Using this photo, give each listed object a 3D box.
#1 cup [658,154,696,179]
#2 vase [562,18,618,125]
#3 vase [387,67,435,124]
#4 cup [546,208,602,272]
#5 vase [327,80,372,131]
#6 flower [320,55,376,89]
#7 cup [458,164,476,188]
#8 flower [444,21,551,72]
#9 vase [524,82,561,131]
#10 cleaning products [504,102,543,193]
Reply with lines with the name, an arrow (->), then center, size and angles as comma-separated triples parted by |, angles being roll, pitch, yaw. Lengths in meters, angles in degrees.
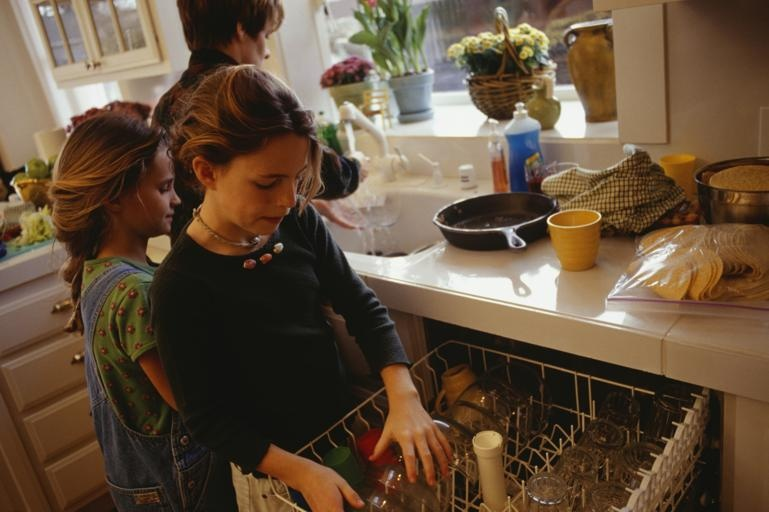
cup -> 0.820, -0.255, 1.500 | 0.082, 0.058, 0.073 | -8, 23, 11
vase -> 0.715, -0.591, 1.749 | 0.153, 0.327, 0.226 | -18, 22, -21
vase -> 0.115, -0.752, 2.550 | 0.253, 0.218, 0.247 | -26, 24, -37
cup -> 0.501, -0.043, 1.388 | 0.149, 0.133, 0.116 | -20, 23, -25
vase -> -0.152, -0.714, 2.534 | 0.220, 0.139, 0.209 | 5, 22, 22
flower -> -0.178, -0.835, 2.467 | 0.163, 0.074, 0.177 | -14, 11, 35
cup -> 0.314, -0.301, 2.016 | 0.062, 0.084, 0.088 | -6, 21, 10
flower -> 0.446, -0.786, 2.063 | 0.275, 0.165, 0.353 | -20, 23, -28
vase -> 0.574, -0.552, 1.920 | 0.127, 0.166, 0.126 | -15, 23, -9
cleaning products -> 0.452, -0.348, 1.739 | 0.112, 0.281, 0.145 | -5, 21, 13
